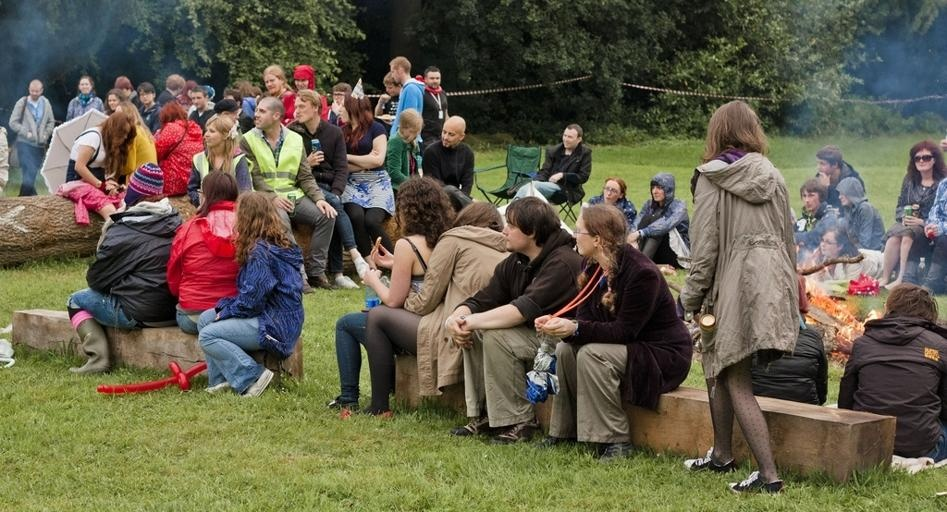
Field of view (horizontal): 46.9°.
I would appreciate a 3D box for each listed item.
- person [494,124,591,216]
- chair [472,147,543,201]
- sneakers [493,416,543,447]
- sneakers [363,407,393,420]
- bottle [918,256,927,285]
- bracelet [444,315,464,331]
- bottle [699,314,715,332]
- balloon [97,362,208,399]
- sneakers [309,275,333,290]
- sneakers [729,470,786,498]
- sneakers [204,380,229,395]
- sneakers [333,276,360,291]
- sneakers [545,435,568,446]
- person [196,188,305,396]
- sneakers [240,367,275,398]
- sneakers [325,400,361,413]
[{"bbox_3d":[1.275,-1.519,20.032,2.201,1.422,1.025,-19,29,-37],"label":"person"},{"bbox_3d":[0.715,-1.547,21.800,1.369,1.201,1.337,-6,12,-2],"label":"chair"},{"bbox_3d":[0.577,2.297,14.187,0.755,0.271,0.251,-3,3,-23],"label":"sneakers"},{"bbox_3d":[-1.277,2.104,14.615,0.334,0.105,0.156,6,-4,3],"label":"sneakers"},{"bbox_3d":[7.439,0.241,18.041,0.144,0.423,0.190,3,3,23],"label":"bottle"},{"bbox_3d":[-0.248,0.881,14.179,0.132,0.212,0.138,27,28,27],"label":"bracelet"},{"bbox_3d":[2.904,0.834,13.497,0.212,0.135,0.191,-6,32,3],"label":"bottle"},{"bbox_3d":[-4.412,1.741,15.052,1.647,0.245,0.506,-10,33,-11],"label":"balloon"},{"bbox_3d":[-2.427,0.439,17.682,0.498,0.180,0.152,1,3,1],"label":"sneakers"},{"bbox_3d":[3.506,2.813,13.540,0.756,0.256,0.246,3,-7,6],"label":"sneakers"},{"bbox_3d":[-3.516,1.816,14.956,0.283,0.133,0.161,-22,-4,9],"label":"sneakers"},{"bbox_3d":[-2.090,0.444,17.842,0.373,0.139,0.198,2,4,21],"label":"sneakers"},{"bbox_3d":[1.087,2.394,14.101,0.350,0.132,0.110,3,-2,1],"label":"sneakers"},{"bbox_3d":[-3.039,0.520,14.975,1.342,2.761,0.417,1,3,-14],"label":"person"},{"bbox_3d":[-2.916,1.750,14.991,0.580,0.228,0.197,-44,6,-4],"label":"sneakers"},{"bbox_3d":[-1.780,2.028,14.748,0.463,0.168,0.159,3,-7,9],"label":"sneakers"}]
